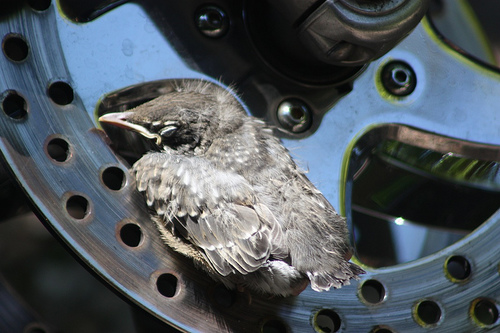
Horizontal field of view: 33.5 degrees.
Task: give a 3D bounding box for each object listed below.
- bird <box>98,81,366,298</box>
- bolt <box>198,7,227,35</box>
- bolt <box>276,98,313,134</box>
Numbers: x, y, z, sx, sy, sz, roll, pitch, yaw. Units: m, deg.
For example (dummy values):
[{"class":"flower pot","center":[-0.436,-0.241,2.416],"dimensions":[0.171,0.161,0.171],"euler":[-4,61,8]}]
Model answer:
[{"class":"bird","center":[-0.057,0.071,1.937],"dimensions":[0.320,0.267,0.698],"euler":[-43,-85,13]},{"class":"bolt","center":[-0.095,-0.355,2.024],"dimensions":[0.060,0.017,0.070],"euler":[7,-89,-19]},{"class":"bolt","center":[0.107,-0.126,2.049],"dimensions":[0.076,0.019,0.085],"euler":[23,-98,-8]}]
